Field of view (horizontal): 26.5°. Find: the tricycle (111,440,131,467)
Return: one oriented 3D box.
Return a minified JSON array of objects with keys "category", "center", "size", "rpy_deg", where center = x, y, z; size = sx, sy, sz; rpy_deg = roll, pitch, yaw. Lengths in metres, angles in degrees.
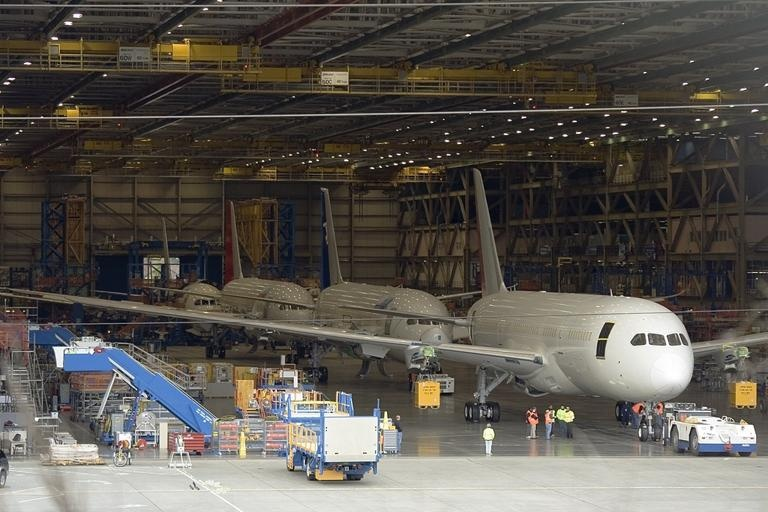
[{"category":"tricycle","center":[-13.101,9.928,81.792],"size":[0.846,1.299,0.624],"rpy_deg":[1,-7,-17]}]

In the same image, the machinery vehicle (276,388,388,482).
[{"category":"machinery vehicle","center":[-2.674,9.039,79.888],"size":[3.225,2.759,5.813],"rpy_deg":[1,1,-17]}]

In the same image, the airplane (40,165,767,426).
[{"category":"airplane","center":[-1.069,1.794,105.017],"size":[51.715,15.886,46.133],"rpy_deg":[-6,-8,43]}]
